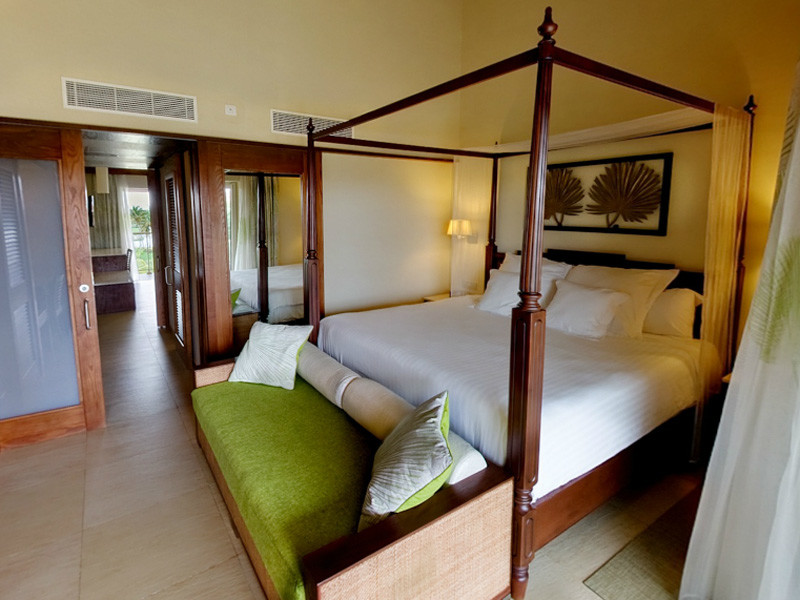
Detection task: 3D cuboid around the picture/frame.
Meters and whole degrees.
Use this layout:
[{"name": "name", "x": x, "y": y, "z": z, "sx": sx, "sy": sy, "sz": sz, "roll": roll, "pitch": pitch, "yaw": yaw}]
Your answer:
[{"name": "picture/frame", "x": 1.896, "y": -0.948, "z": 4.889, "sx": 0.038, "sy": 0.517, "sz": 0.842, "roll": -14, "pitch": 20, "yaw": -36}]

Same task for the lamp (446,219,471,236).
[{"name": "lamp", "x": 0.666, "y": -0.820, "z": 6.200, "sx": 0.207, "sy": 0.187, "sz": 0.215, "roll": 4, "pitch": 17, "yaw": 14}]

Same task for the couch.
[{"name": "couch", "x": -0.415, "y": 1.085, "z": 3.474, "sx": 1.205, "sy": 0.984, "sz": 1.979, "roll": -7, "pitch": 16, "yaw": -32}]
